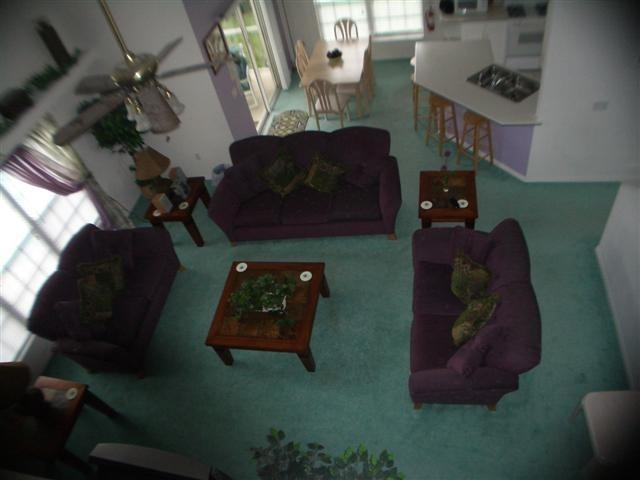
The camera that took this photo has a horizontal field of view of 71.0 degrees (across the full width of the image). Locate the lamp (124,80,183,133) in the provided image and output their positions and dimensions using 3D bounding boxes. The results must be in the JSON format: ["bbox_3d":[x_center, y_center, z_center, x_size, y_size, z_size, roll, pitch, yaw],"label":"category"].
[{"bbox_3d":[-1.260,-0.972,3.431,0.421,0.417,0.179,-23,14,-5],"label":"lamp"}]

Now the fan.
[{"bbox_3d":[-1.473,-1.204,3.262,1.106,0.892,0.441,-18,50,-1],"label":"fan"}]

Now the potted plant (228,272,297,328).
[{"bbox_3d":[-0.632,0.662,5.125,0.758,0.220,0.591,3,52,16],"label":"potted plant"}]

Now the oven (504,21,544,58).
[{"bbox_3d":[3.353,-3.288,7.331,0.757,0.684,0.281,6,37,14],"label":"oven"}]

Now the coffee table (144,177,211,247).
[{"bbox_3d":[-2.077,-0.408,6.510,0.728,0.702,0.736,9,59,31],"label":"coffee table"}]

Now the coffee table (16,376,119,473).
[{"bbox_3d":[-2.801,1.952,4.810,0.667,0.905,0.783,5,53,18],"label":"coffee table"}]

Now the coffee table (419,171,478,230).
[{"bbox_3d":[1.588,-0.590,5.676,0.772,0.542,0.768,-10,52,11],"label":"coffee table"}]

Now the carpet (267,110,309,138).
[{"bbox_3d":[-0.589,-2.249,8.547,0.790,0.037,0.900,-10,45,4],"label":"carpet"}]

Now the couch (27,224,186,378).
[{"bbox_3d":[-2.451,1.015,6.298,1.517,1.563,2.526,-6,65,24],"label":"couch"}]

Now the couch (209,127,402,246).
[{"bbox_3d":[-0.159,-0.925,6.289,3.151,1.367,1.522,-3,66,9],"label":"couch"}]

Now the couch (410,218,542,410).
[{"bbox_3d":[1.564,0.809,4.550,1.426,1.155,2.328,1,65,15],"label":"couch"}]

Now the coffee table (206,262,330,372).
[{"bbox_3d":[-0.526,0.787,5.396,1.275,0.792,1.289,-2,58,19],"label":"coffee table"}]
